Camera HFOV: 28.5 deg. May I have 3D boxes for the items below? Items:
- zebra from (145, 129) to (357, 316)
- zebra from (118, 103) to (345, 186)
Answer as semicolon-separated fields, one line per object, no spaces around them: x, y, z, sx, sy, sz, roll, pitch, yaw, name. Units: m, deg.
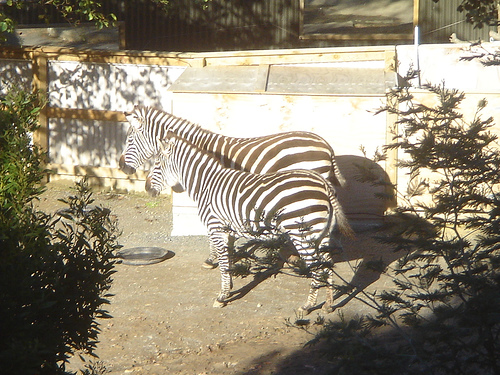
0.215;0.455;13.723;1.702;2.329;4.331;-11;15;-29;zebra
-0.403;-0.181;15.647;3.665;2.157;0.848;-1;3;-28;zebra
